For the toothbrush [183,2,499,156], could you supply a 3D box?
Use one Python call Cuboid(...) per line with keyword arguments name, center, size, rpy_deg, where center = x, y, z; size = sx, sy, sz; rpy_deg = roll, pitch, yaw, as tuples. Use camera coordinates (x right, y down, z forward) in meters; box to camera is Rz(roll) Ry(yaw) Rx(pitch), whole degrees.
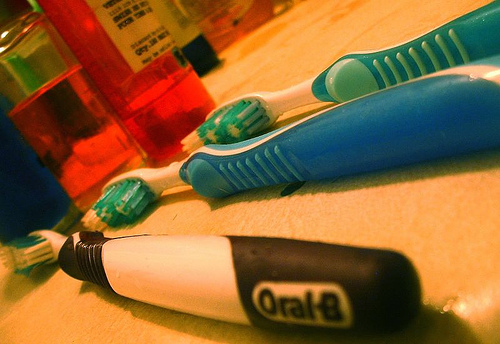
Cuboid(name="toothbrush", center=(-0.053, -0.054, 0.715), size=(0.783, 0.084, 0.109), rpy_deg=(-12, 23, 41))
